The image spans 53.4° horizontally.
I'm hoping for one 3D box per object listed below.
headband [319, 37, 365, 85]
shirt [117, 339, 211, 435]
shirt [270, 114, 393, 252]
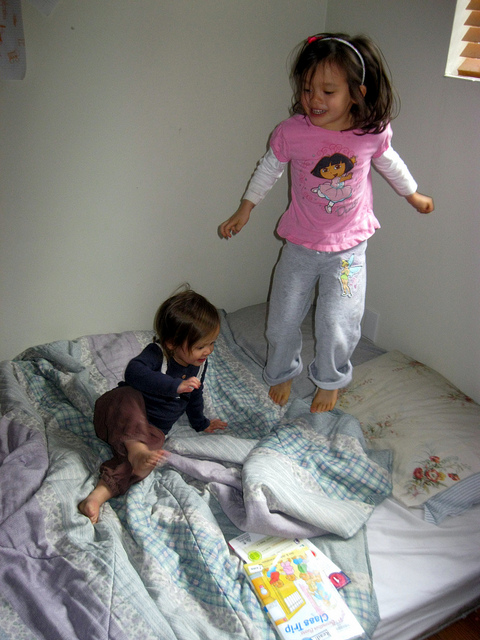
[{"bbox_3d":[0.231,-0.582,1.068,0.112,0.083,0.027,21,33,21],"label":"headband"},{"bbox_3d":[-0.202,0.221,1.413,0.196,0.301,0.254,20,2,43],"label":"shirt"},{"bbox_3d":[0.247,-0.384,1.320,0.331,0.335,0.227,-2,35,4],"label":"shirt"}]
